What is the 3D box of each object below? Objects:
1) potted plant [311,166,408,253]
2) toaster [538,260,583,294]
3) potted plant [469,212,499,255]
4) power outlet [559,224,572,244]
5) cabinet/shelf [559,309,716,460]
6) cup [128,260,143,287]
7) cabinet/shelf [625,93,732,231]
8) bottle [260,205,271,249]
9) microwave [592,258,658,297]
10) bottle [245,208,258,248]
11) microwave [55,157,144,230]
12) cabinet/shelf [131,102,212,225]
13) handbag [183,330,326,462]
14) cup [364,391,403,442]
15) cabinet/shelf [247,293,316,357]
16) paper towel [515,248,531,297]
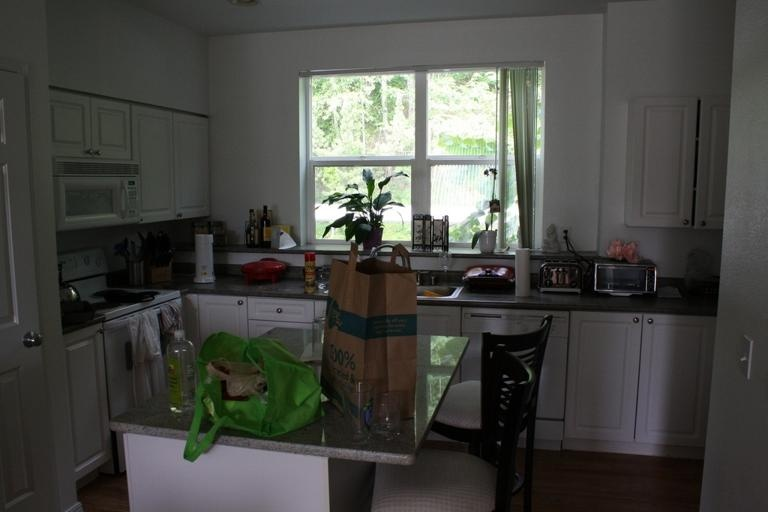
[{"bbox_3d":[-0.216,-0.427,5.303,0.770,0.603,0.760,-8,11,-43],"label":"potted plant"},{"bbox_3d":[1.441,0.138,4.722,0.345,0.275,0.208,0,22,10],"label":"toaster"},{"bbox_3d":[0.904,-0.213,5.198,0.230,0.352,0.330,0,7,10],"label":"potted plant"},{"bbox_3d":[1.589,-0.163,5.021,0.088,0.150,0.034,1,8,17],"label":"power outlet"},{"bbox_3d":[1.929,0.918,4.313,1.094,1.067,0.429,2,3,10],"label":"cabinet/shelf"},{"bbox_3d":[-2.074,0.149,4.897,0.125,0.223,0.078,-5,8,-24],"label":"cup"},{"bbox_3d":[2.314,-0.743,4.502,1.078,1.087,0.451,2,4,16],"label":"cabinet/shelf"},{"bbox_3d":[-1.102,-0.268,5.437,0.106,0.372,0.071,0,7,10],"label":"bottle"},{"bbox_3d":[1.913,0.183,4.615,0.461,0.270,0.161,1,8,19],"label":"microwave"},{"bbox_3d":[-1.251,-0.258,5.490,0.112,0.349,0.186,-8,10,-40],"label":"bottle"},{"bbox_3d":[-2.151,-0.456,4.373,0.433,0.515,0.727,2,6,17],"label":"microwave"},{"bbox_3d":[-1.862,-0.818,5.052,0.416,1.028,1.116,1,3,15],"label":"cabinet/shelf"},{"bbox_3d":[-0.555,0.601,2.640,0.460,0.330,0.636,13,19,21],"label":"handbag"},{"bbox_3d":[0.010,0.702,2.573,0.211,0.222,0.144,3,5,22],"label":"cup"},{"bbox_3d":[-0.832,0.572,4.943,0.583,0.547,0.294,4,14,6],"label":"cabinet/shelf"},{"bbox_3d":[1.106,0.138,4.587,0.104,0.365,0.104,-1,7,9],"label":"paper towel"}]
